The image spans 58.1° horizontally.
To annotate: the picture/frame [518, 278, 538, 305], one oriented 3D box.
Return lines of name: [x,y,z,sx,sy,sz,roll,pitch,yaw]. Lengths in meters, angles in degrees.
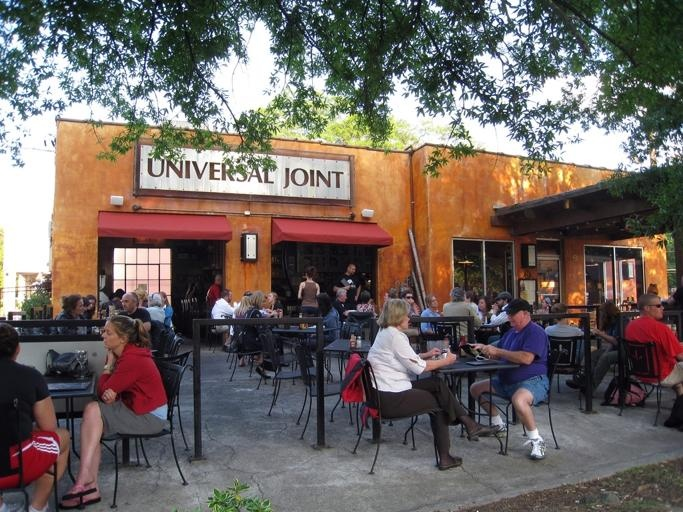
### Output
picture/frame: [4.928,0.912,16.348,0.666,0.886,0.059,3,-4,-29]

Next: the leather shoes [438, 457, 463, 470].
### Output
leather shoes: [1.143,2.150,6.502,0.258,0.119,0.116,-6,3,-27]

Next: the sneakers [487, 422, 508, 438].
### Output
sneakers: [1.862,2.043,7.299,0.128,0.189,0.406,-3,-19,10]

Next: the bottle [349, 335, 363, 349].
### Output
bottle: [0.216,1.222,8.738,0.147,0.301,0.209,-2,-3,9]

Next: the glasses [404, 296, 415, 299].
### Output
glasses: [1.635,0.984,14.762,0.184,0.067,0.188,7,-11,-40]

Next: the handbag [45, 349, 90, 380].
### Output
handbag: [-2.959,1.187,6.754,0.318,0.188,0.426,2,0,-2]

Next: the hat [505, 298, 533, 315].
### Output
hat: [2.110,0.596,7.265,0.258,0.150,0.185,9,-7,3]

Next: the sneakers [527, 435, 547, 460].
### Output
sneakers: [2.142,2.107,6.751,0.114,0.158,0.360,-14,-26,15]

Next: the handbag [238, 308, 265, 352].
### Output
handbag: [-1.587,1.278,10.969,0.450,0.833,0.615,-4,4,-26]

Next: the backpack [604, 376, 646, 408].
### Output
backpack: [4.059,1.934,8.950,0.498,0.494,0.386,-1,-2,-2]

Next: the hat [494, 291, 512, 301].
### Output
hat: [3.309,0.832,12.501,0.352,0.201,0.260,9,8,14]

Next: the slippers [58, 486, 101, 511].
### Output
slippers: [-2.414,2.233,5.722,0.282,0.098,0.162,7,-12,-34]

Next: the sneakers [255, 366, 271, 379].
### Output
sneakers: [-1.328,1.972,10.483,0.203,0.136,0.367,3,-10,-13]
